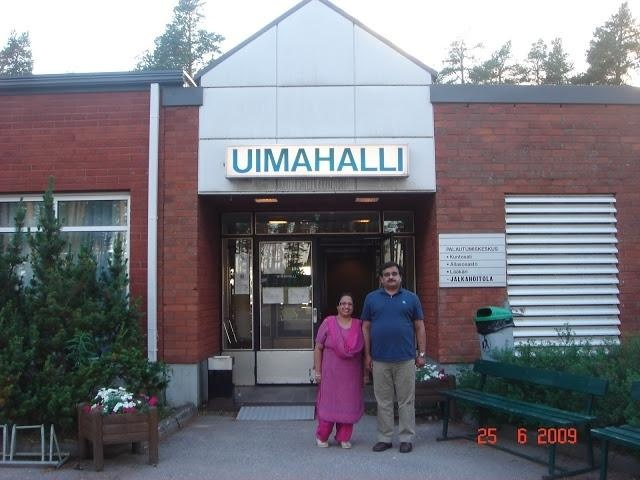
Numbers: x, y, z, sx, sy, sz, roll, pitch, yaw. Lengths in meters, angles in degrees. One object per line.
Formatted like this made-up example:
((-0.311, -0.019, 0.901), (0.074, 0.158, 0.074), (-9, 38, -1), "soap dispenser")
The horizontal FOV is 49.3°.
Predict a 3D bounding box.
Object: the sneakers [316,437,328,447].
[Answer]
((0.041, 2.796, 9.691), (0.095, 0.120, 0.272), (1, -11, -6), "sneakers")

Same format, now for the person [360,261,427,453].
((1.012, 1.585, 9.518), (0.852, 2.519, 0.487), (-1, 4, 4), "person")

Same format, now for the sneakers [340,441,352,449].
((0.376, 2.807, 9.654), (0.170, 0.093, 0.185), (-1, 4, -3), "sneakers")

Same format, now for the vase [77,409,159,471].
((-2.645, 2.587, 9.226), (0.829, 0.717, 0.809), (3, -9, -17), "vase")

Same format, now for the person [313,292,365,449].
((0.285, 1.806, 9.701), (0.690, 2.105, 0.455), (-1, 4, 1), "person")

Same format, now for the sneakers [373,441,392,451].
((0.868, 2.809, 9.535), (0.272, 0.121, 0.100), (8, -10, -36), "sneakers")

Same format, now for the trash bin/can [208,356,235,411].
((-1.653, 2.375, 11.671), (0.439, 0.802, 0.613), (-2, 4, -11), "trash bin/can")

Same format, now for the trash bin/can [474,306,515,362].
((2.663, 1.427, 10.592), (0.552, 0.793, 0.426), (0, 4, 14), "trash bin/can")

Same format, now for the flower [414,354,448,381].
((1.731, 1.987, 10.805), (0.384, 0.212, 0.442), (0, -2, 25), "flower")
